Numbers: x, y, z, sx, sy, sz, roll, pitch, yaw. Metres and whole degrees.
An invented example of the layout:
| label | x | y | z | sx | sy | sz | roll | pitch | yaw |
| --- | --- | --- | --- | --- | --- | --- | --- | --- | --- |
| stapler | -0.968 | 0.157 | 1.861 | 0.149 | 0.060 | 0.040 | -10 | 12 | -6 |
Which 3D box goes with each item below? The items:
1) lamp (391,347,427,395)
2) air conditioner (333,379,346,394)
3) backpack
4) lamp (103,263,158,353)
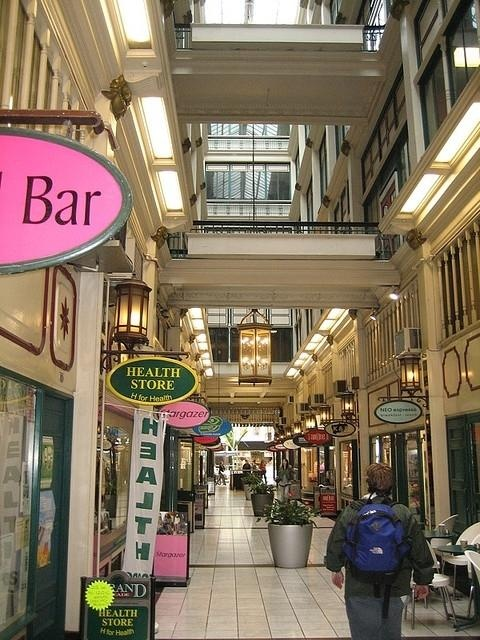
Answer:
| label | x | y | z | sx | sy | sz | roll | pitch | yaw |
| --- | --- | --- | --- | --- | --- | --- | --- | --- | --- |
| lamp | 3.228 | 1.023 | 8.652 | 0.359 | 0.829 | 0.364 | -5 | -7 | 41 |
| air conditioner | 3.272 | 2.212 | 14.954 | 0.360 | 0.608 | 0.563 | 1 | -6 | 2 |
| backpack | 0.802 | 1.319 | 2.708 | 0.375 | 0.431 | 0.171 | -5 | -16 | 18 |
| lamp | -1.201 | -0.073 | 5.172 | 0.338 | 0.857 | 0.365 | -3 | -11 | 22 |
